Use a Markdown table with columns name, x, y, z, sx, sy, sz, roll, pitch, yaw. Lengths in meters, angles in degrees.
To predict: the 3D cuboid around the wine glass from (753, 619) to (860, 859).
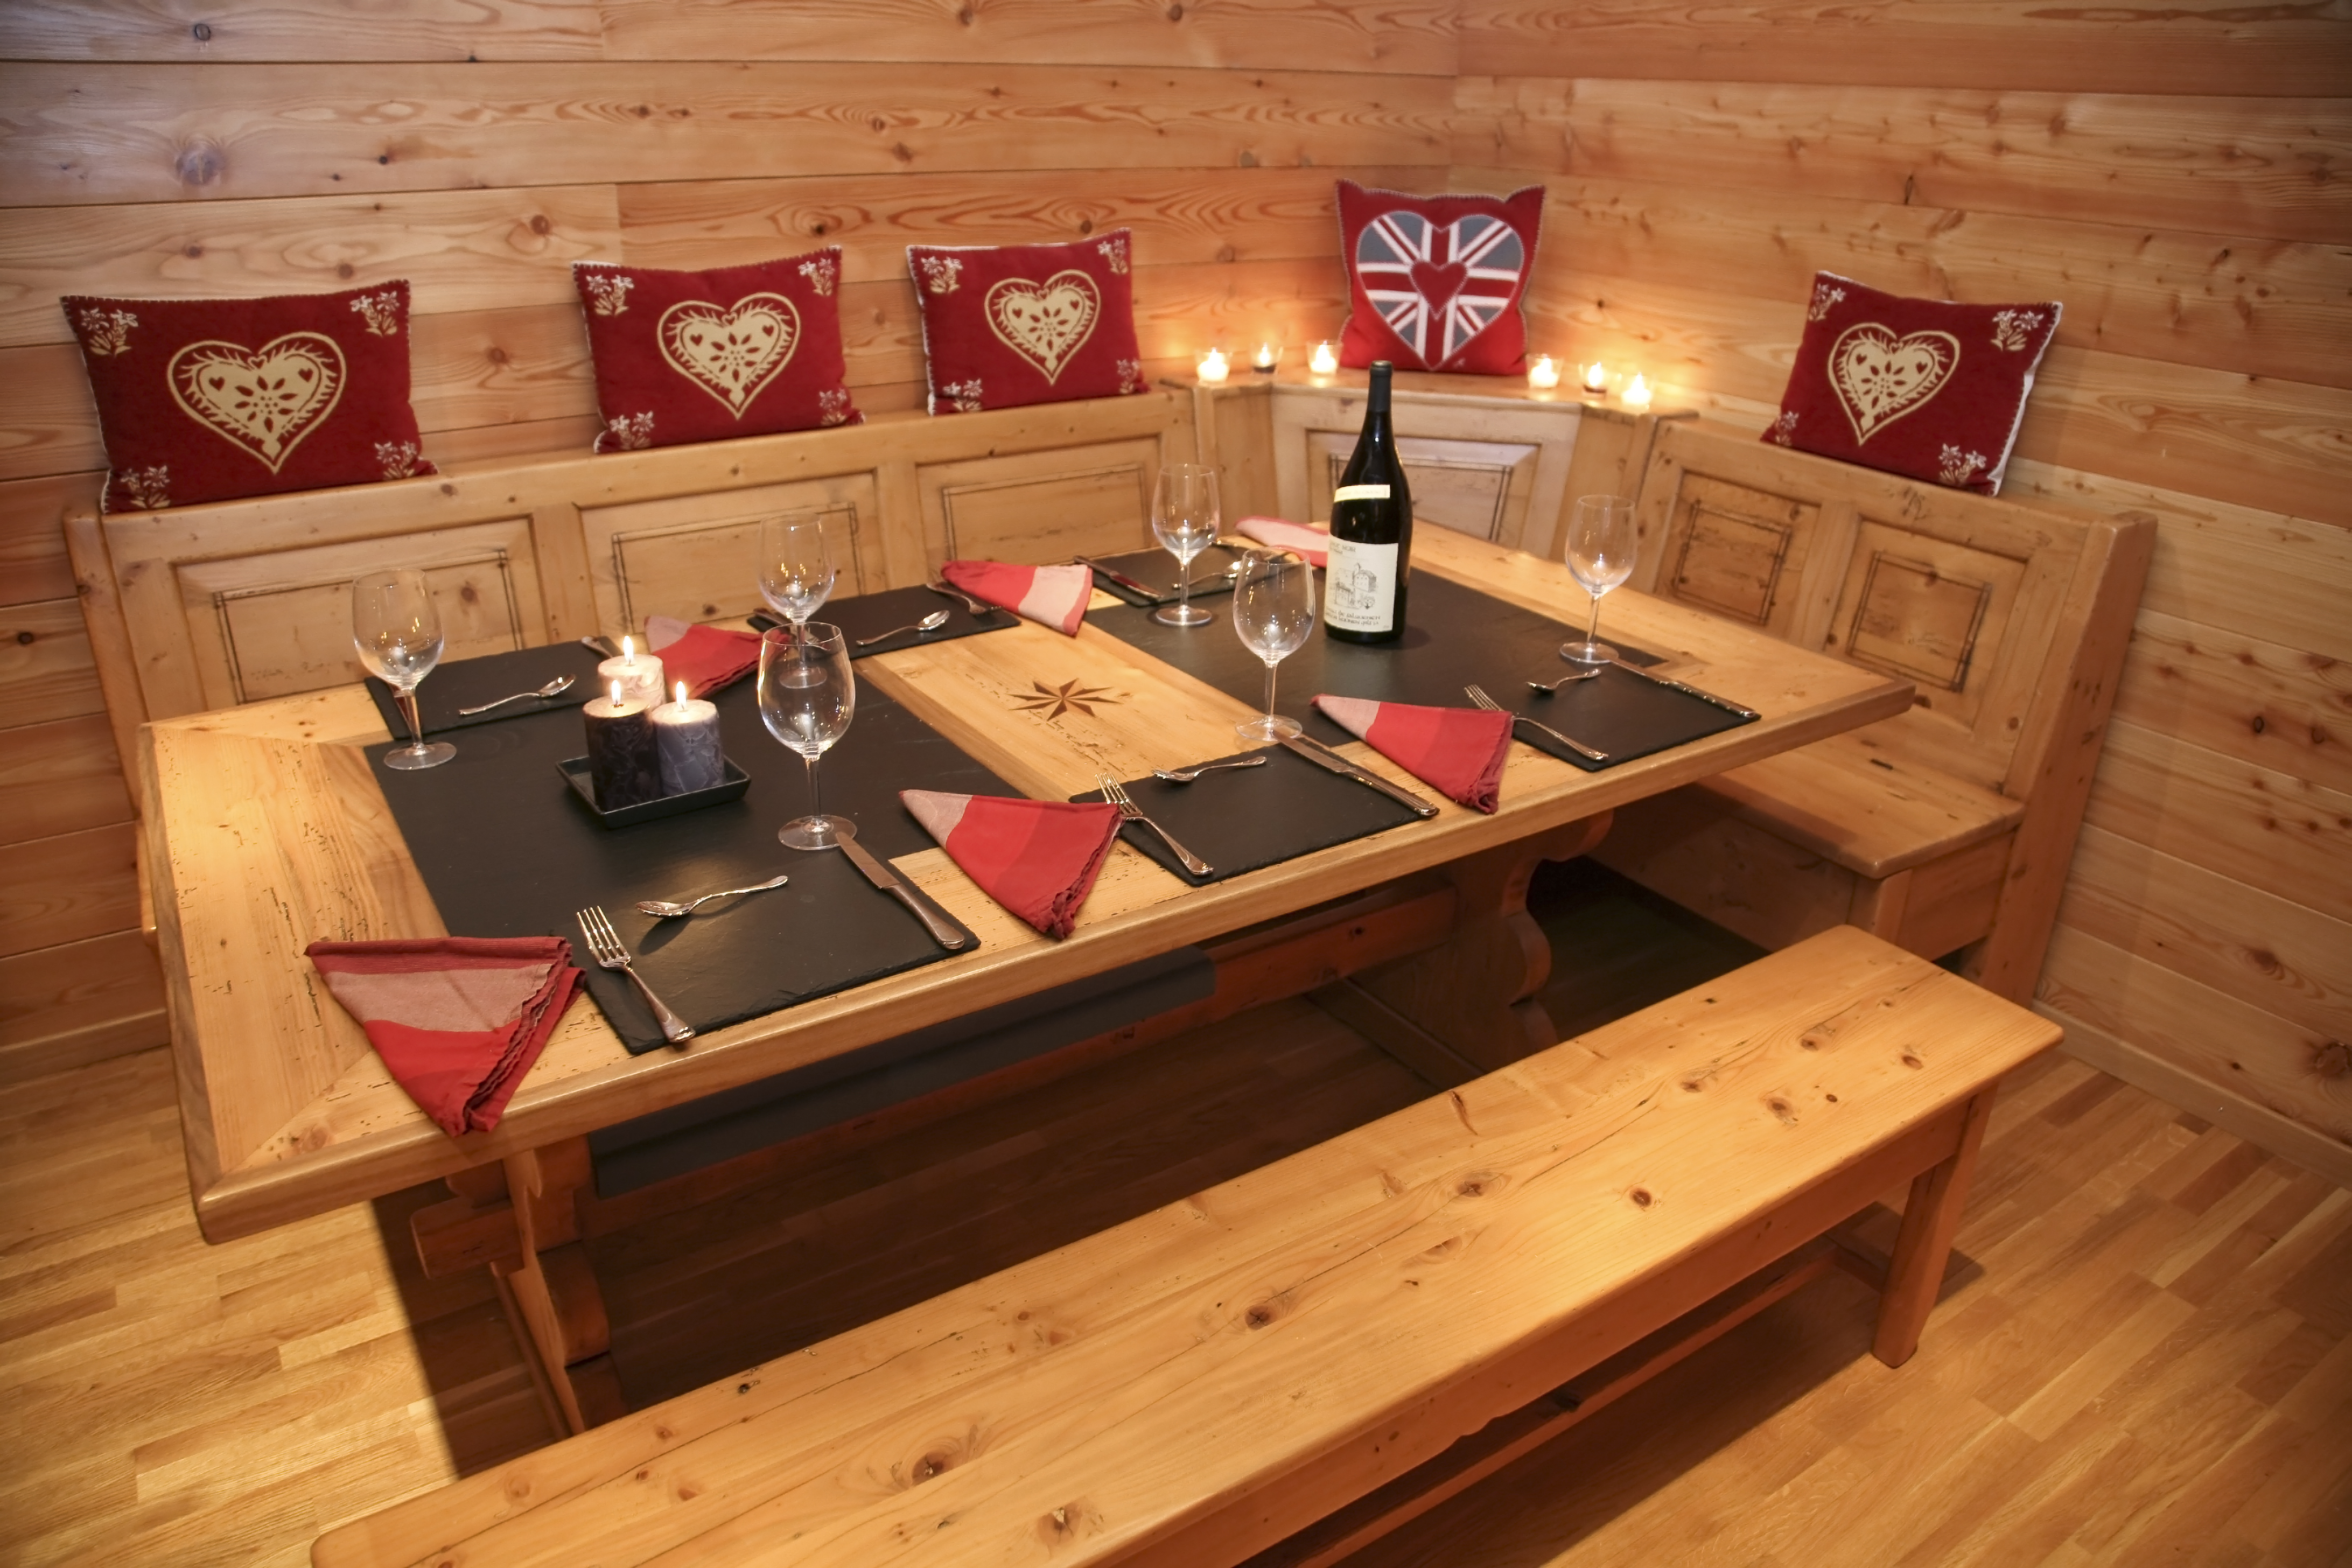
| name | x | y | z | sx | sy | sz | roll | pitch | yaw |
| --- | --- | --- | --- | --- | --- | --- | --- | --- | --- |
| wine glass | -0.550 | -0.089 | 2.293 | 0.133 | 0.306 | 0.318 | -7 | 25 | -10 |

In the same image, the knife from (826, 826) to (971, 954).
| name | x | y | z | sx | sy | sz | roll | pitch | yaw |
| --- | --- | --- | --- | --- | --- | --- | --- | --- | --- |
| knife | -0.414 | 0.133 | 2.192 | 0.084 | 0.020 | 0.443 | -21 | 29 | -27 |

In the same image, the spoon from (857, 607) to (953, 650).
| name | x | y | z | sx | sy | sz | roll | pitch | yaw |
| --- | --- | --- | --- | --- | --- | --- | --- | --- | --- |
| spoon | -0.505 | -0.282 | 2.826 | 0.236 | 0.033 | 0.053 | -13 | 43 | -7 |

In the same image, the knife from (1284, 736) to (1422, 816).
| name | x | y | z | sx | sy | sz | roll | pitch | yaw |
| --- | --- | --- | --- | --- | --- | --- | --- | --- | --- |
| knife | 0.273 | -0.016 | 2.419 | 0.086 | 0.012 | 0.281 | -21 | 36 | -41 |

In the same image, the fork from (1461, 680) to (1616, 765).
| name | x | y | z | sx | sy | sz | roll | pitch | yaw |
| --- | --- | --- | --- | --- | --- | --- | --- | --- | --- |
| fork | 0.602 | -0.096 | 2.545 | 0.036 | 0.030 | 0.282 | -13 | 32 | -32 |

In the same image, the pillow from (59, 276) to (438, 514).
| name | x | y | z | sx | sy | sz | roll | pitch | yaw |
| --- | --- | --- | --- | --- | --- | --- | --- | --- | --- |
| pillow | -1.965 | -0.800 | 3.162 | 0.604 | 0.349 | 0.192 | -10 | 27 | -31 |

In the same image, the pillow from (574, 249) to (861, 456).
| name | x | y | z | sx | sy | sz | roll | pitch | yaw |
| --- | --- | --- | --- | --- | --- | --- | --- | --- | --- |
| pillow | -1.108 | -1.005 | 3.569 | 0.618 | 0.328 | 0.192 | -10 | 34 | -23 |

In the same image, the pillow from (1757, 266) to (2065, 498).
| name | x | y | z | sx | sy | sz | roll | pitch | yaw |
| --- | --- | --- | --- | --- | --- | --- | --- | --- | --- |
| pillow | 1.704 | -0.905 | 3.473 | 0.635 | 0.383 | 0.224 | 22 | -3 | 42 |

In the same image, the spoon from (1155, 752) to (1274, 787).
| name | x | y | z | sx | sy | sz | roll | pitch | yaw |
| --- | --- | --- | --- | --- | --- | --- | --- | --- | --- |
| spoon | 0.059 | -0.020 | 2.413 | 0.149 | 0.018 | 0.023 | -10 | 31 | -15 |
